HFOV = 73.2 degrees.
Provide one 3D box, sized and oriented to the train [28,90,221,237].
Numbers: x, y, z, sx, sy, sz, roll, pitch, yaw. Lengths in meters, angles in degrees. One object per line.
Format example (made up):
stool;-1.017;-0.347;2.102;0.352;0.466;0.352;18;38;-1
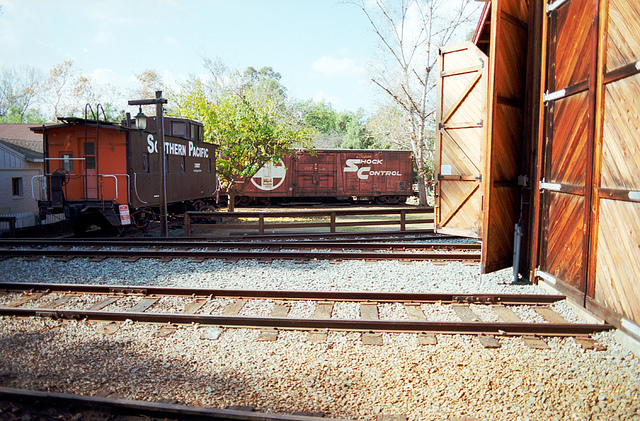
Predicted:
train;-7.559;-2.020;18.349;3.367;5.012;9.366;1;5;8
